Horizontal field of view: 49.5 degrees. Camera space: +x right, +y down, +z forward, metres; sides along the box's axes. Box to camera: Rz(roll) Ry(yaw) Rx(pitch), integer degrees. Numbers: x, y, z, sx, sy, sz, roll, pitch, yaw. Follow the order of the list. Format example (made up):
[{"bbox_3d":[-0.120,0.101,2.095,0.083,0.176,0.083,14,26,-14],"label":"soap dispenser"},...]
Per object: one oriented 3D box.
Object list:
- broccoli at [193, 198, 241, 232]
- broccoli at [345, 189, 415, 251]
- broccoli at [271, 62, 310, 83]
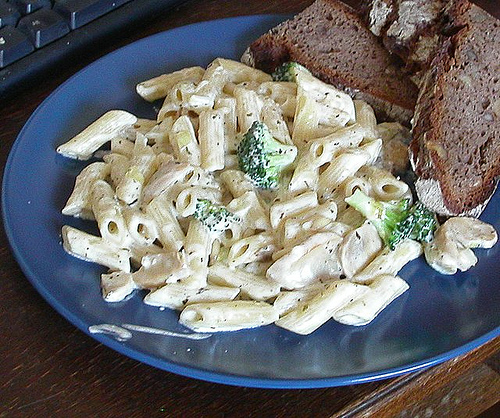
[{"bbox_3d":[-0.095,0.018,1.486,0.118,0.070,0.026,20,-44,-17],"label":"broccoli"},{"bbox_3d":[0.367,0.024,1.489,0.201,0.144,0.053,23,-17,6],"label":"broccoli"},{"bbox_3d":[0.143,-0.468,1.883,0.124,0.038,0.103,-9,24,-21],"label":"broccoli"}]
